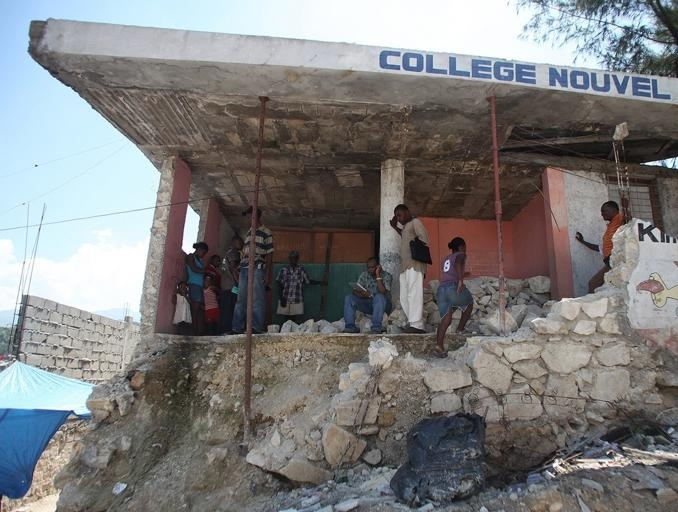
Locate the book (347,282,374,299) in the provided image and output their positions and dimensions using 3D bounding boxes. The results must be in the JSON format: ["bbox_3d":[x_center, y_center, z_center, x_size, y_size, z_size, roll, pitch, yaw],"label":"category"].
[{"bbox_3d":[0.386,0.611,7.555,0.261,0.090,0.376,33,-18,-3],"label":"book"}]

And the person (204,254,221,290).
[{"bbox_3d":[-2.652,0.343,9.011,0.247,0.788,0.269,-10,-37,-5],"label":"person"}]

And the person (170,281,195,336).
[{"bbox_3d":[-3.054,1.008,8.465,0.333,0.993,0.346,2,-10,-19],"label":"person"}]

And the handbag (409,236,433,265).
[{"bbox_3d":[1.360,-0.091,7.177,0.379,0.460,0.133,3,-10,-23],"label":"handbag"}]

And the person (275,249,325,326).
[{"bbox_3d":[-1.076,0.808,9.787,1.205,1.843,0.690,-5,26,-24],"label":"person"}]

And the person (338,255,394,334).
[{"bbox_3d":[0.533,0.676,7.683,0.720,1.419,1.020,-5,-14,30],"label":"person"}]

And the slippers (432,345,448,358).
[{"bbox_3d":[1.504,1.415,6.403,0.206,0.224,0.126,6,-10,-20],"label":"slippers"}]

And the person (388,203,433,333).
[{"bbox_3d":[1.225,0.269,7.649,0.832,2.662,1.096,3,-35,3],"label":"person"}]

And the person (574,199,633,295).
[{"bbox_3d":[4.419,-0.099,7.243,0.380,1.374,1.134,13,-30,14],"label":"person"}]

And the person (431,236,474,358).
[{"bbox_3d":[1.837,0.591,6.996,0.580,1.901,1.193,-4,-10,16],"label":"person"}]
